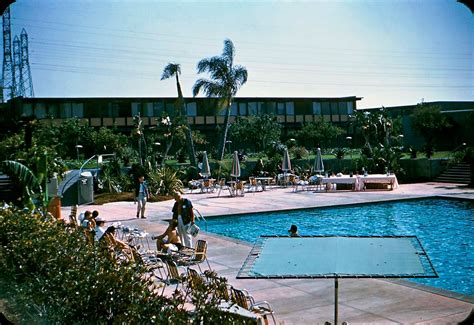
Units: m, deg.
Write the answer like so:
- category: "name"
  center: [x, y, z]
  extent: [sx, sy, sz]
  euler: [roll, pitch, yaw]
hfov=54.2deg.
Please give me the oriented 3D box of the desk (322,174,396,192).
- category: "desk"
  center: [7.241, 1.175, 26.931]
  extent: [4.150, 0.960, 1.442]
  euler: [-2, -1, 6]

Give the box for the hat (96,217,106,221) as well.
- category: "hat"
  center: [-3.387, 1.445, 11.647]
  extent: [0.180, 0.060, 0.177]
  euler: [0, 0, -38]
